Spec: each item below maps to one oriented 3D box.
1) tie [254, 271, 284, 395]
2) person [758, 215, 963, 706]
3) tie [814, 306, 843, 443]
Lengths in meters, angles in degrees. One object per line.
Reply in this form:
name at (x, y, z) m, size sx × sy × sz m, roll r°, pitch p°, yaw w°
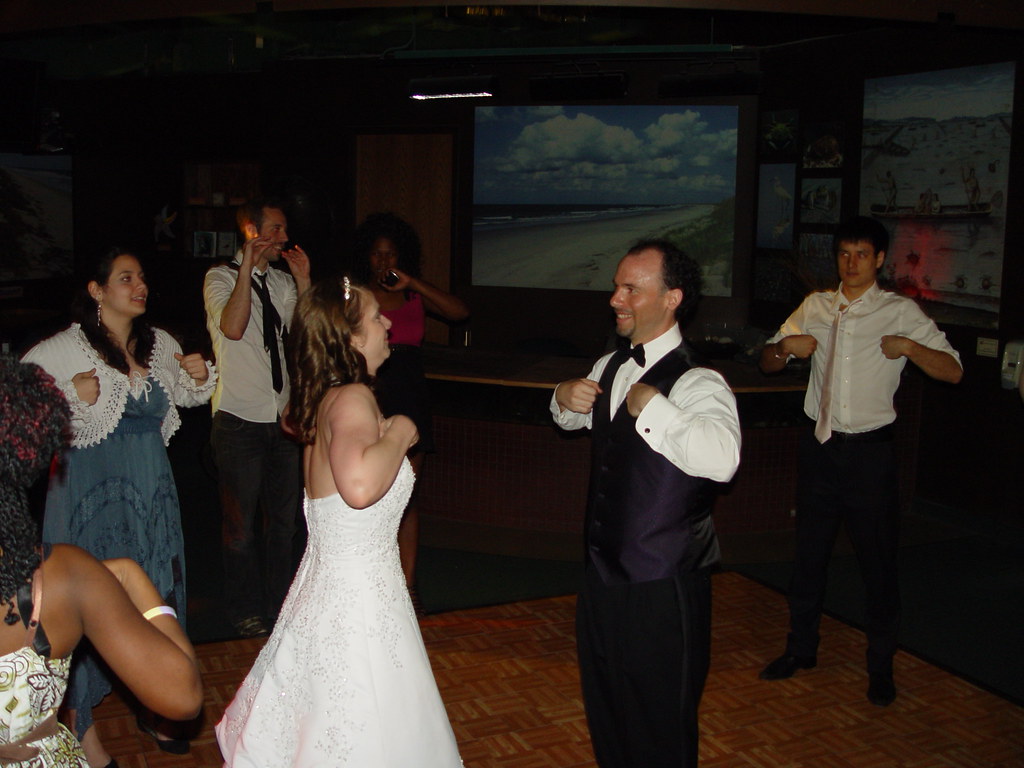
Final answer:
tie at (-1.233, -0.255, 3.841) m, size 0.109 × 0.671 × 0.062 m, roll -6°, pitch 0°, yaw -21°
person at (1.681, 0.328, 3.624) m, size 0.713 × 2.216 × 0.637 m, roll 5°, pitch 12°, yaw 22°
tie at (1.507, 0.015, 3.599) m, size 0.079 × 0.877 × 0.049 m, roll 2°, pitch -27°, yaw 31°
